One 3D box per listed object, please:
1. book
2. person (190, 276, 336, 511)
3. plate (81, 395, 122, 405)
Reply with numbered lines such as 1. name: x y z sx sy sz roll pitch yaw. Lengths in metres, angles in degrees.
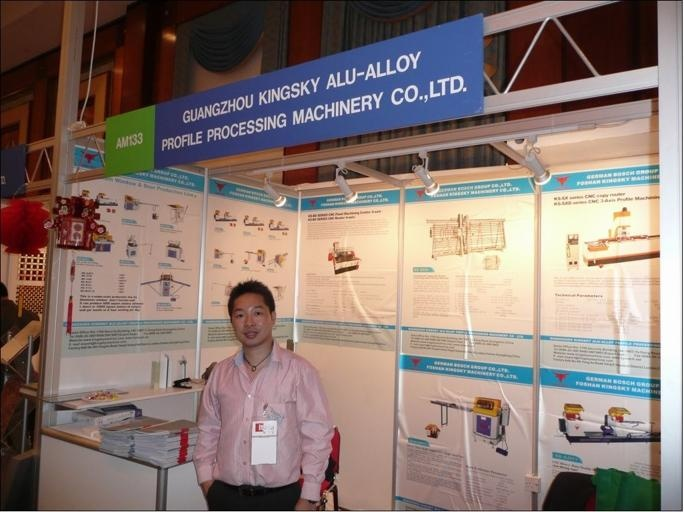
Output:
1. book: -1.314 1.273 3.541 0.703 0.236 0.351 -2 -7 27
2. person: -0.485 0.803 3.011 0.838 1.303 0.295 -1 -6 23
3. plate: -1.893 1.122 4.014 0.267 0.048 0.165 4 -7 -25
